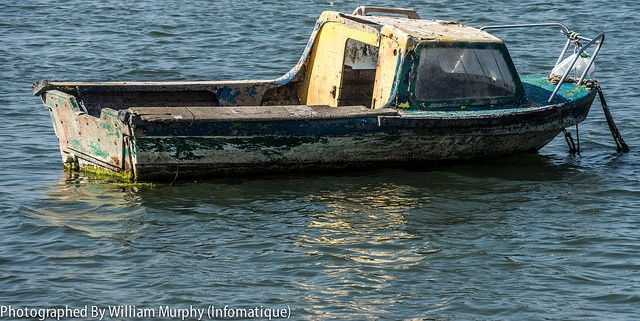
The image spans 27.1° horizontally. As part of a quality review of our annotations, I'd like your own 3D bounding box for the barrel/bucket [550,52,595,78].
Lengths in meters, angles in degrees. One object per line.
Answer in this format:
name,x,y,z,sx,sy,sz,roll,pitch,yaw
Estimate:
barrel/bucket,6.306,-2.281,32.426,0.633,0.861,0.809,32,78,-5
